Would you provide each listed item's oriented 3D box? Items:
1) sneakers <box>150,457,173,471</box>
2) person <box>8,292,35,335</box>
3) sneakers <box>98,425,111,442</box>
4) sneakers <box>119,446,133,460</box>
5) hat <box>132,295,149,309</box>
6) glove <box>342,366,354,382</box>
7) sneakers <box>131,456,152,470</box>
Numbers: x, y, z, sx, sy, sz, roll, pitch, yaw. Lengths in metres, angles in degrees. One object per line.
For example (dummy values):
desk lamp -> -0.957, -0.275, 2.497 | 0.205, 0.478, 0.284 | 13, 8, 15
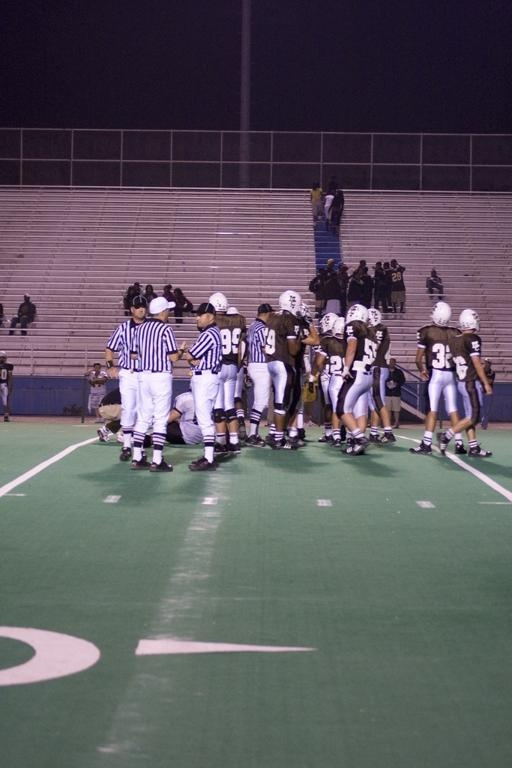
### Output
sneakers -> -1.264, 1.057, 8.944 | 0.262, 0.165, 0.142 | -1, 8, -16
person -> -8.575, -2.550, 24.486 | 0.864, 1.421, 0.573 | 1, -1, -27
sneakers -> -2.994, 0.962, 13.150 | 0.230, 0.175, 0.478 | -9, 5, -18
sneakers -> -1.993, 1.053, 10.185 | 0.170, 0.208, 0.290 | 1, -1, -12
hat -> -1.671, -1.193, 9.551 | 0.193, 0.209, 0.437 | 1, -1, -10
glove -> 1.406, -0.166, 10.161 | 0.185, 0.364, 0.185 | -2, 21, 5
sneakers -> -1.591, 1.063, 9.197 | 0.317, 0.202, 0.153 | -1, 6, -10
